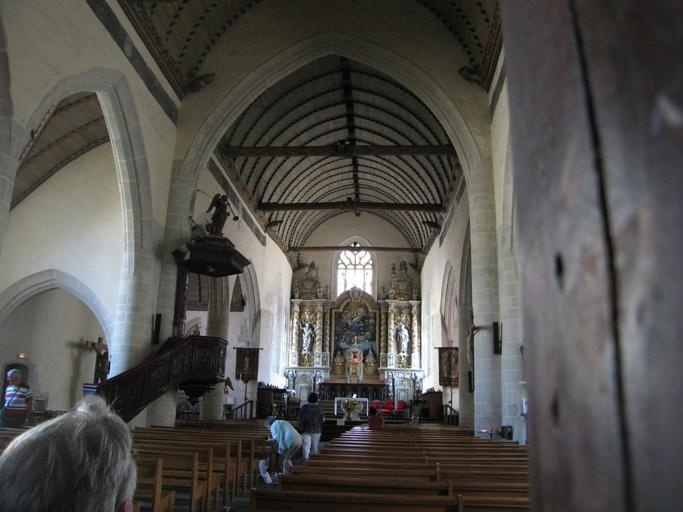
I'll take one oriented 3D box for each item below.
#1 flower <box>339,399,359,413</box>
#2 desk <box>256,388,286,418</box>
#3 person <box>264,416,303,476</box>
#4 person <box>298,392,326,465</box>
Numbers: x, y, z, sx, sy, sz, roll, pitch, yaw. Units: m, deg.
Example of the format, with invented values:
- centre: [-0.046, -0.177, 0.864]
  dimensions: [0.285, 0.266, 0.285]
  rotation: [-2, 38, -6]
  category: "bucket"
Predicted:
- centre: [0.323, 5.480, 18.879]
  dimensions: [0.410, 0.456, 1.284]
  rotation: [2, -17, -5]
  category: "flower"
- centre: [-2.704, 5.638, 19.923]
  dimensions: [1.162, 1.187, 2.211]
  rotation: [2, -16, -7]
  category: "desk"
- centre: [-1.007, 3.236, 8.764]
  dimensions: [0.667, 1.162, 0.429]
  rotation: [-7, 1, 45]
  category: "person"
- centre: [-0.591, 3.319, 10.183]
  dimensions: [0.455, 1.470, 0.432]
  rotation: [2, 16, -4]
  category: "person"
